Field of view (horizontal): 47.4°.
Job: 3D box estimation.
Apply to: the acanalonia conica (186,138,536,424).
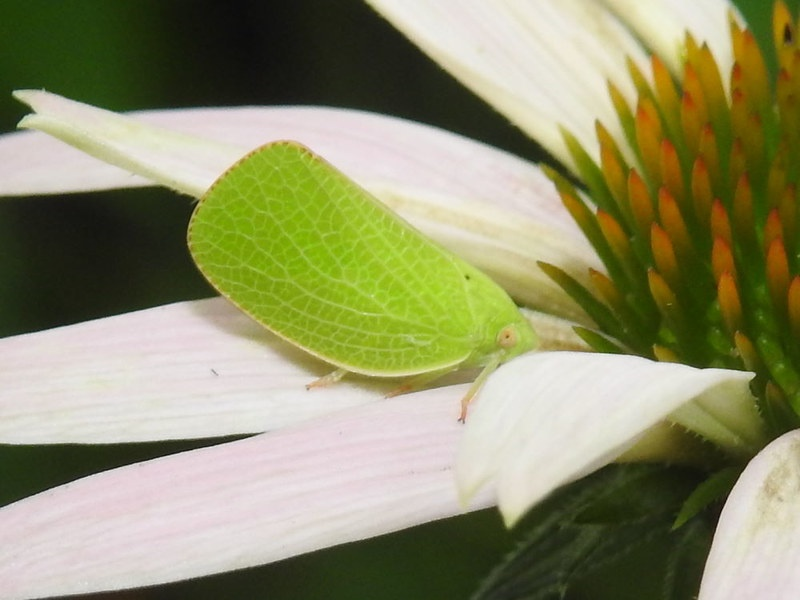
[{"bbox_3d":[-0.015,-0.035,0.760,0.279,0.165,0.155,15,37,3],"label":"acanalonia conica"}]
